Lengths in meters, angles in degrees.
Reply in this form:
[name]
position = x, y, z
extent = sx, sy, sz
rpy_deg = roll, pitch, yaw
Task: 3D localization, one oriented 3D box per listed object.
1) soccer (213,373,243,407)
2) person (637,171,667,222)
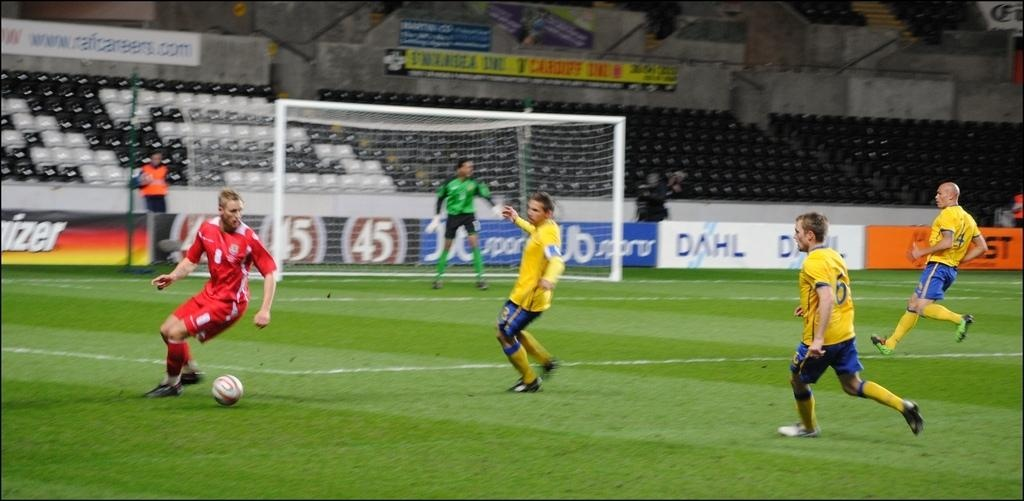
[soccer]
position = -5.697, 2.734, 19.836
extent = 0.579, 0.562, 0.437
rpy_deg = 1, 3, -10
[person]
position = 4.341, -1.619, 30.447
extent = 0.761, 1.395, 0.922
rpy_deg = 1, 3, -10
